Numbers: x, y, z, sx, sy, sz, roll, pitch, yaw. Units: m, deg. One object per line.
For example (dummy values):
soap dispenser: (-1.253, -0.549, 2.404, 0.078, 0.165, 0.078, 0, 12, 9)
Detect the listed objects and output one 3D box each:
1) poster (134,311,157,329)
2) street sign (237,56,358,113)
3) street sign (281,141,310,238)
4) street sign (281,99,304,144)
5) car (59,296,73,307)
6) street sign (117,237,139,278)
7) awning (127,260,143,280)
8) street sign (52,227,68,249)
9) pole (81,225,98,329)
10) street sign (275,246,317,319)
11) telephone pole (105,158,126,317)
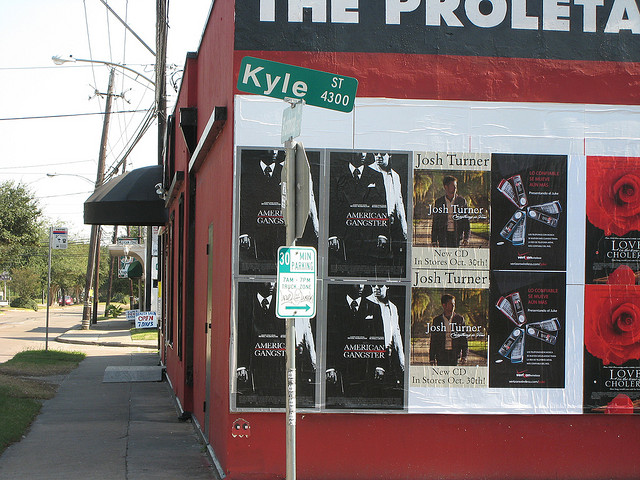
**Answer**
poster: (-3.963, 1.858, 21.220, 0.485, 0.368, 0.810, 1, -4, -12)
street sign: (-0.209, -1.636, 9.705, 1.313, 0.550, 0.024, 11, -35, -4)
street sign: (-0.225, -0.499, 9.496, 0.264, 1.015, 0.252, 1, 0, -11)
street sign: (-0.259, -1.247, 9.607, 0.157, 0.439, 0.422, 2, -5, -29)
car: (-30.538, 7.482, 111.280, 1.085, 1.085, 2.020, 1, -6, -7)
street sign: (-9.420, 1.119, 46.796, 0.911, 2.054, 1.009, 1, -16, 39)
awning: (-8.554, 1.388, 42.662, 0.479, 0.755, 0.685, -9, -24, 37)
street sign: (-7.212, -0.045, 25.634, 0.176, 0.629, 0.562, 0, 1, 24)
pole: (-9.337, 1.298, 37.694, 0.496, 4.576, 0.583, -4, 33, -29)
street sign: (-0.221, 0.440, 9.393, 0.395, 0.740, 0.103, 1, -4, -8)
telephone pole: (-9.052, 0.774, 41.128, 1.085, 10.634, 0.789, -1, 1, -23)
